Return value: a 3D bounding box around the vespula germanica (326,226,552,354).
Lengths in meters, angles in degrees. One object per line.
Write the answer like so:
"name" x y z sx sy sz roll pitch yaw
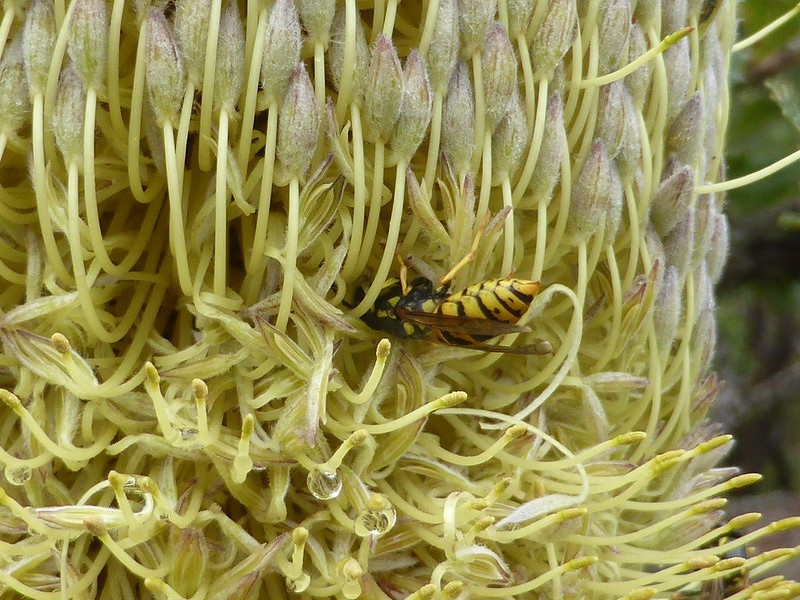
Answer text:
"vespula germanica" 0.080 -0.017 1.903 0.295 0.223 0.088 -1 49 18
